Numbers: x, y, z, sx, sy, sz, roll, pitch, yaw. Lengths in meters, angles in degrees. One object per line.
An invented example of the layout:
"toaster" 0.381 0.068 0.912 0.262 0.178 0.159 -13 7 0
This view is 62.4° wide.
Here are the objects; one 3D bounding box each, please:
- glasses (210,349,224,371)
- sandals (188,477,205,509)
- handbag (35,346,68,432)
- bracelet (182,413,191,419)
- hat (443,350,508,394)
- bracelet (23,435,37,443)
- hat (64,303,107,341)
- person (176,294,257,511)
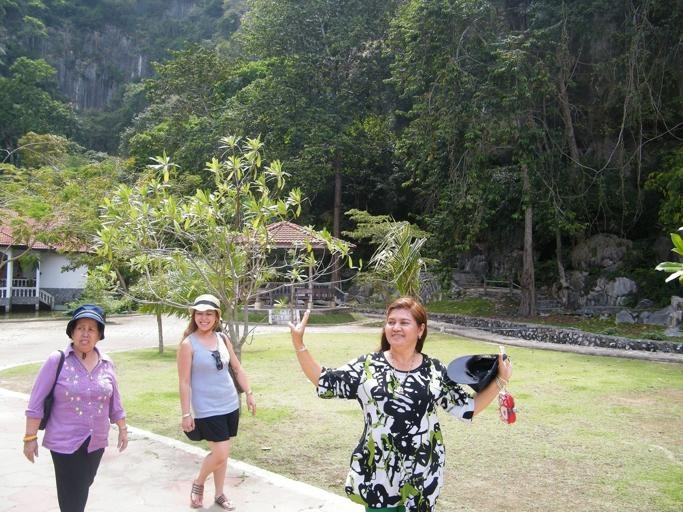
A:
"glasses" -1.343 1.122 6.081 0.080 0.241 0.082 -11 8 -2
"sandals" -1.570 2.590 6.113 0.118 0.312 0.111 -20 -47 12
"handbag" -2.682 1.253 5.246 0.165 0.796 0.075 5 -2 -28
"bracelet" -1.624 1.678 5.953 0.097 0.047 0.051 7 -3 -45
"hat" 1.025 1.012 4.908 0.749 0.295 0.567 17 -19 -31
"bracelet" -2.850 1.670 5.175 0.097 0.080 0.113 6 -2 -32
"hat" -2.475 0.636 5.533 0.288 0.234 0.442 4 -35 -20
"person" -1.414 1.572 6.158 0.770 2.160 0.402 5 -2 -14
